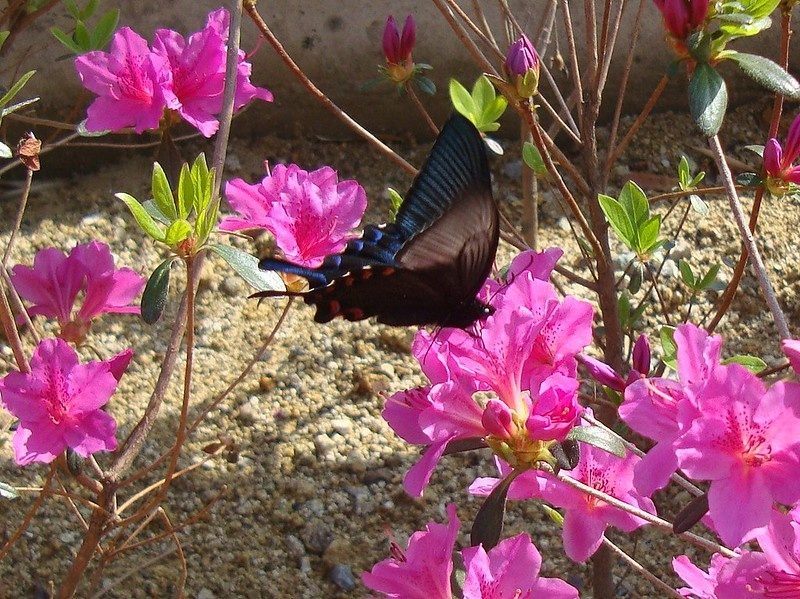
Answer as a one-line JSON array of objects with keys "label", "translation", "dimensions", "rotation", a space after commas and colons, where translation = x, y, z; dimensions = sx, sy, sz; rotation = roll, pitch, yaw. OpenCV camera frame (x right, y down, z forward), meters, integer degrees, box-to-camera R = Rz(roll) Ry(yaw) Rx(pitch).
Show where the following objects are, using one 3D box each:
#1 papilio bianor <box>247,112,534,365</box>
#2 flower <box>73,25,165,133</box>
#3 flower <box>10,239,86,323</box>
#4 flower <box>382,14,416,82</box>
[{"label": "papilio bianor", "translation": [0.047, -0.095, 2.120], "dimensions": [0.449, 0.456, 0.485], "rotation": [-5, -1, 6]}, {"label": "flower", "translation": [-0.669, -0.517, 2.198], "dimensions": [0.231, 0.267, 0.127], "rotation": [22, 29, 7]}, {"label": "flower", "translation": [-0.854, -0.035, 2.236], "dimensions": [0.166, 0.189, 0.081], "rotation": [-24, 18, 0]}, {"label": "flower", "translation": [-0.014, -0.748, 2.724], "dimensions": [0.089, 0.193, 0.085], "rotation": [-24, 23, -13]}]
